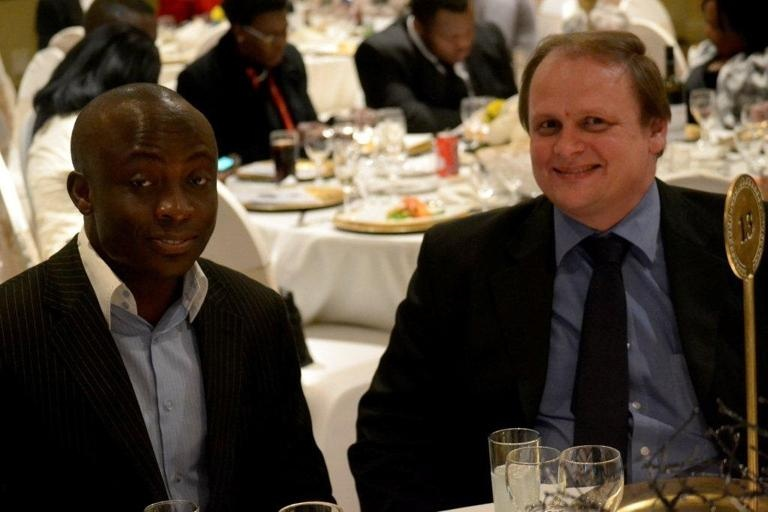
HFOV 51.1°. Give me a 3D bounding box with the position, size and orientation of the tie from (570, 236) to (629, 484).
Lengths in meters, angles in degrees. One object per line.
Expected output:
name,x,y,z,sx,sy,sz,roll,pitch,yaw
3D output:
tie,0.551,0.224,2.019,0.119,0.537,0.263,-4,10,33
